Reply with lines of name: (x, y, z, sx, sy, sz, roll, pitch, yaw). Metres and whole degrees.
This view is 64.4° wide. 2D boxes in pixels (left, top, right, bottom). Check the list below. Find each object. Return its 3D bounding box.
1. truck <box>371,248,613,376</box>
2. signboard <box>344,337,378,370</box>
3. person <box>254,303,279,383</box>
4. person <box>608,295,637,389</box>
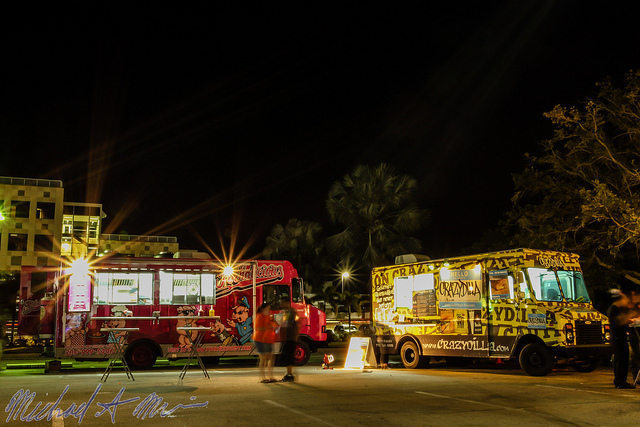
truck: (5.920, 3.547, 18.856, 3.423, 4.629, 8.243, 11, -17, -41)
signboard: (1.228, 4.892, 18.355, 0.967, 1.217, 0.805, 17, 2, -35)
person: (-1.640, 3.785, 14.943, 0.589, 2.214, 0.526, 6, -10, -34)
person: (8.237, 3.458, 13.944, 0.692, 2.478, 0.551, 6, -10, -34)
